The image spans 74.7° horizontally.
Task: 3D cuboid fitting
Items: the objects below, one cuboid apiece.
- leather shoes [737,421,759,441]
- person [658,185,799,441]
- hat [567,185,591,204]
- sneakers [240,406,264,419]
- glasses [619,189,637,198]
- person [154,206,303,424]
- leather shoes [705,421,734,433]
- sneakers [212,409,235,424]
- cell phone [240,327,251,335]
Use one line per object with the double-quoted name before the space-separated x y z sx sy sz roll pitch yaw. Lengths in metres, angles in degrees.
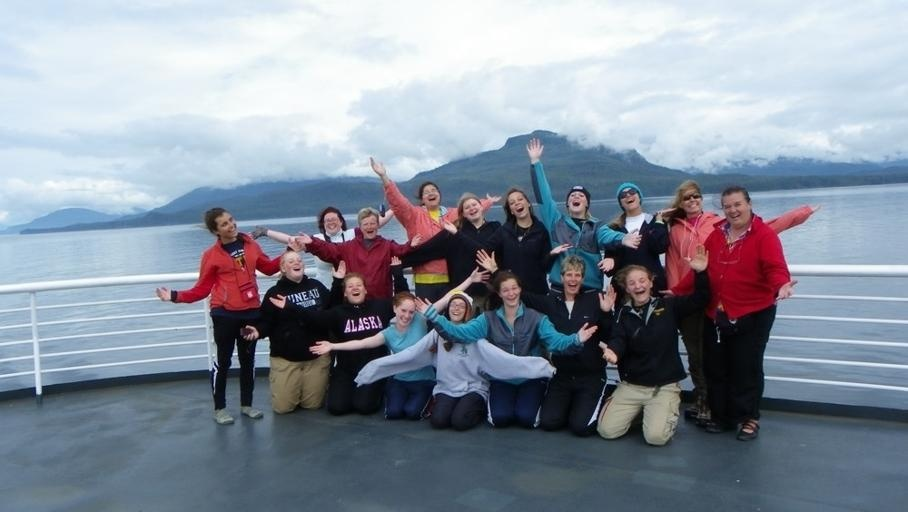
"leather shoes" 4.044 2.324 8.058 0.466 0.231 0.168 -3 4 -28
"person" 3.938 0.740 8.055 1.000 3.381 0.625 -1 4 19
"hat" 1.938 -0.989 9.262 0.310 0.269 0.388 2 -11 23
"sneakers" -3.076 2.347 8.993 0.327 0.107 0.154 3 3 23
"glasses" 2.619 -0.936 8.944 0.274 0.155 0.098 -1 4 12
"person" -3.426 0.846 9.065 1.379 3.190 0.806 -2 4 3
"leather shoes" 3.719 2.342 8.227 0.405 0.140 0.143 6 -1 -6
"sneakers" -3.449 2.371 8.881 0.283 0.189 0.275 -3 4 -21
"cell phone" -3.137 1.115 8.925 0.087 0.126 0.207 -5 5 -41
